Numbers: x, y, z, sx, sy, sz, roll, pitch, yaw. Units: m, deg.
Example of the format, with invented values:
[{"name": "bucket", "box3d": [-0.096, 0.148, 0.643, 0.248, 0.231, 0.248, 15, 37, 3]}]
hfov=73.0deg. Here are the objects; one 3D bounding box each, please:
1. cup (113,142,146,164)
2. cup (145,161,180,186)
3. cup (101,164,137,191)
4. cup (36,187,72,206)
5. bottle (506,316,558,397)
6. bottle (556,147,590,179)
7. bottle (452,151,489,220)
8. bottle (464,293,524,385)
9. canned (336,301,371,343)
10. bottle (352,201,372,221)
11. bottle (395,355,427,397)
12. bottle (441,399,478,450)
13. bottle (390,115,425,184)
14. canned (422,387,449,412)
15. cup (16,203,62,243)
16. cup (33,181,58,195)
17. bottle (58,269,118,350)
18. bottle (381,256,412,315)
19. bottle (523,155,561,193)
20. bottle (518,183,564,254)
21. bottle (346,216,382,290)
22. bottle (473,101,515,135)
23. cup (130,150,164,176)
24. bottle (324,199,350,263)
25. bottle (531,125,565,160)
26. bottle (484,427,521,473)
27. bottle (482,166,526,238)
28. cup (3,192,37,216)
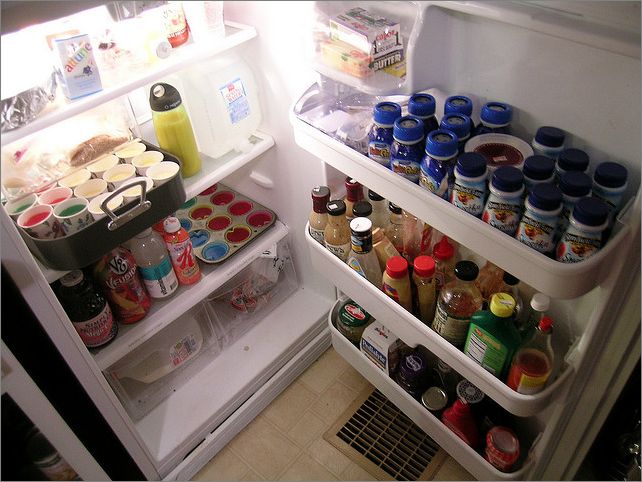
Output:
[{"name": "cup", "box3d": [-0.655, -0.307, 1.491, 0.079, 0.053, 0.079, 0, 49, 0]}, {"name": "cup", "box3d": [-0.518, -0.225, 1.417, 0.090, 0.057, 0.091, 0, 54, 1]}, {"name": "cup", "box3d": [-0.656, -0.188, 1.435, 0.089, 0.067, 0.086, -2, 51, 2]}, {"name": "cup", "box3d": [-0.809, -0.136, 1.313, 0.068, 0.044, 0.072, 3, 49, -3]}, {"name": "bottle", "box3d": [0.519, 0.292, 1.076, 0.069, 0.199, 0.071, -3, 53, 4]}, {"name": "bottle", "box3d": [0.552, -0.173, 0.949, 0.061, 0.061, 0.065, 2, 60, 18]}, {"name": "bottle", "box3d": [0.336, -0.119, 0.972, 0.070, 0.126, 0.073, -6, 48, 7]}, {"name": "bottle", "box3d": [0.436, 0.255, 1.100, 0.121, 0.299, 0.077, 27, 51, 30]}, {"name": "canned", "box3d": [0.112, 0.302, 1.653, 0.111, 0.122, 0.151, -28, 46, -23]}, {"name": "bottle", "box3d": [0.124, -0.094, 1.305, 0.048, 0.046, 0.051, 2, 54, 10]}, {"name": "bottle", "box3d": [0.312, 0.449, 1.514, 0.111, 0.128, 0.126, 0, 47, 18]}, {"name": "bottle", "box3d": [0.435, 0.581, 1.371, 0.067, 0.167, 0.115, -41, 50, -17]}, {"name": "bottle", "box3d": [0.213, -0.220, 1.058, 0.085, 0.152, 0.084, -4, 46, 4]}, {"name": "canned", "box3d": [0.379, 0.525, 1.436, 0.068, 0.078, 0.072, -13, 48, 5]}, {"name": "cup", "box3d": [-0.793, -0.048, 1.238, 0.095, 0.085, 0.109, -28, 56, -15]}, {"name": "cup", "box3d": [-0.857, -0.162, 1.345, 0.043, 0.033, 0.045, 8, 56, -12]}, {"name": "bottle", "box3d": [-0.782, 0.227, 1.444, 0.121, 0.298, 0.088, -30, 46, -26]}, {"name": "bottle", "box3d": [0.228, 0.122, 1.293, 0.089, 0.174, 0.137, 0, 41, 7]}, {"name": "bottle", "box3d": [0.471, -0.151, 0.942, 0.069, 0.069, 0.072, -8, 39, 5]}, {"name": "bottle", "box3d": [0.466, -0.040, 0.918, 0.079, 0.132, 0.082, -3, 41, 3]}, {"name": "bottle", "box3d": [0.129, 0.045, 1.307, 0.088, 0.227, 0.091, -7, 50, 9]}, {"name": "bottle", "box3d": [0.419, -0.295, 1.057, 0.078, 0.078, 0.082, 3, 54, 11]}, {"name": "cup", "box3d": [-0.593, -0.262, 1.483, 0.089, 0.056, 0.089, -1, 50, 1]}, {"name": "bottle", "box3d": [0.047, -0.033, 1.358, 0.085, 0.169, 0.122, -4, 41, 3]}, {"name": "bottle", "box3d": [0.531, -0.224, 1.047, 0.073, 0.049, 0.072, -3, 49, 4]}, {"name": "bottle", "box3d": [0.553, 0.641, 1.328, 0.114, 0.192, 0.115, -10, 38, 8]}, {"name": "bottle", "box3d": [0.400, -0.080, 0.941, 0.085, 0.165, 0.090, -3, 47, 3]}, {"name": "cup", "box3d": [-0.870, -0.104, 1.247, 0.058, 0.038, 0.056, 3, 46, -3]}]
